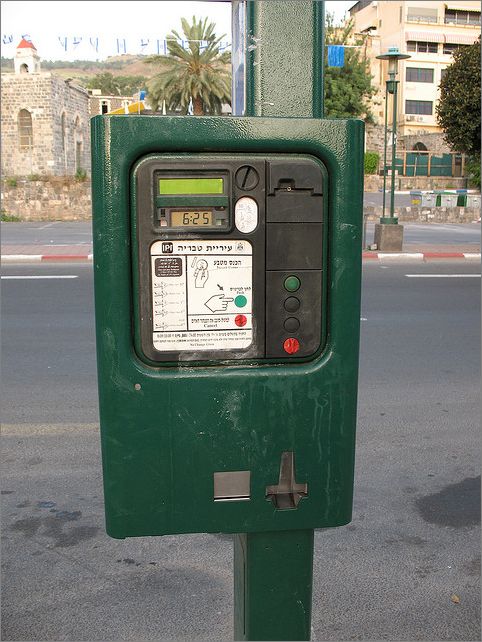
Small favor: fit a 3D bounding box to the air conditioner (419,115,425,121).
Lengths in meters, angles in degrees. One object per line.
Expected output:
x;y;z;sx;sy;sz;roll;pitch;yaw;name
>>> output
16.028;-17.757;62.458;0.675;0.533;0.165;-5;13;-27;air conditioner
